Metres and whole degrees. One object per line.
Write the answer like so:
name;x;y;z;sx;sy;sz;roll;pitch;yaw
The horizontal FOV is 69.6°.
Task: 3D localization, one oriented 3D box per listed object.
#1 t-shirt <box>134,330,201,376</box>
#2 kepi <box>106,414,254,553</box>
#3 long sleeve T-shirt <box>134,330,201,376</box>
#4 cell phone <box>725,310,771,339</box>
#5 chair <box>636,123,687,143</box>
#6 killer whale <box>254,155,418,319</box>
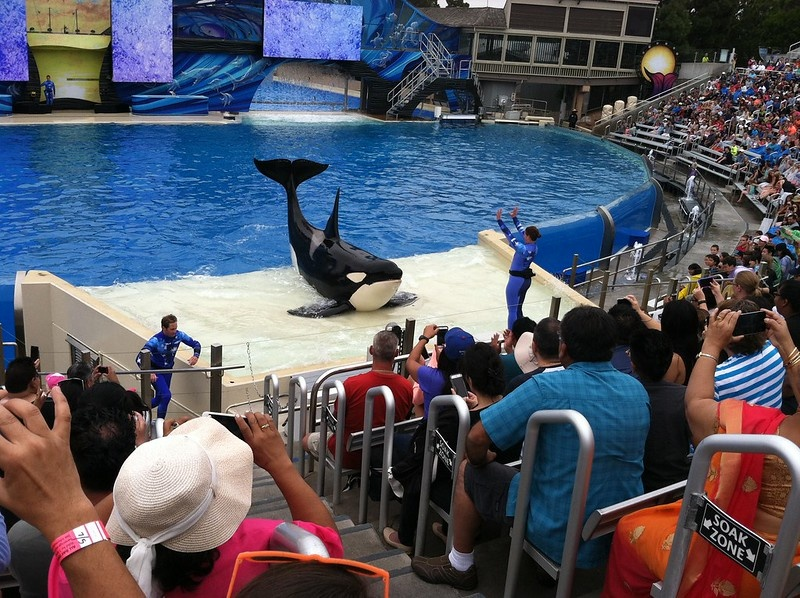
t-shirt;-3.301;0.703;8.202;0.616;0.594;0.758;24;23;38
kepi;-0.703;0.603;1.833;0.385;0.345;0.475;21;16;29
long sleeve T-shirt;-3.350;0.769;8.241;0.548;0.710;1.069;23;13;24
cell phone;1.869;0.134;3.092;0.196;0.156;0.109;0;11;-6
chair;15.615;-9.865;34.134;1.125;0.962;3.051;-27;26;-13
killer whale;-1.542;-1.414;12.216;2.587;3.133;3.750;-7;13;-36
